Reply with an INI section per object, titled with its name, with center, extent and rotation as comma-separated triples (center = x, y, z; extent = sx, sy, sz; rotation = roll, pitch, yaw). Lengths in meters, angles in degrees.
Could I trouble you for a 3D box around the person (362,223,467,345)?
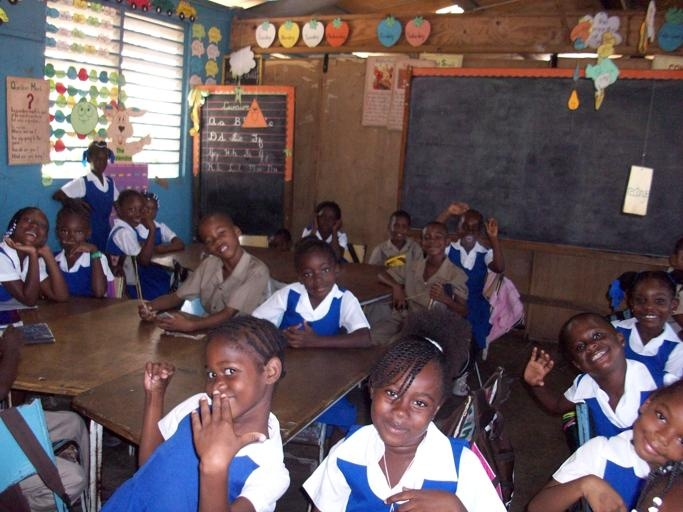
[person]
center = 0.491, 0.250, 3.191
extent = 0.594, 0.888, 0.518
rotation = 9, 13, 9
